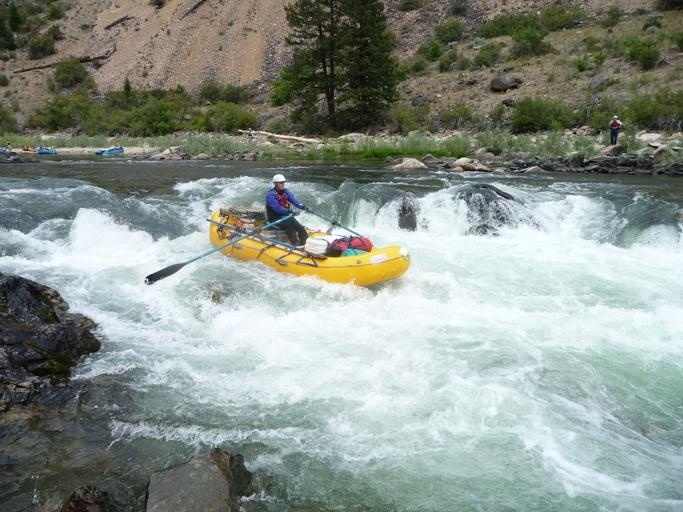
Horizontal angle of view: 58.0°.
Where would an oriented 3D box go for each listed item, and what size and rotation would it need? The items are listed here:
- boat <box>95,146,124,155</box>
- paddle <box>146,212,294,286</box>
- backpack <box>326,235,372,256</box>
[{"bbox_3d":[-12.628,-5.713,33.792,1.613,0.466,0.829,-7,15,-17],"label":"boat"},{"bbox_3d":[-2.647,-0.115,13.907,4.296,0.411,0.482,-22,55,-40],"label":"paddle"},{"bbox_3d":[0.152,-0.225,13.320,0.748,0.214,0.487,-5,14,-23],"label":"backpack"}]
